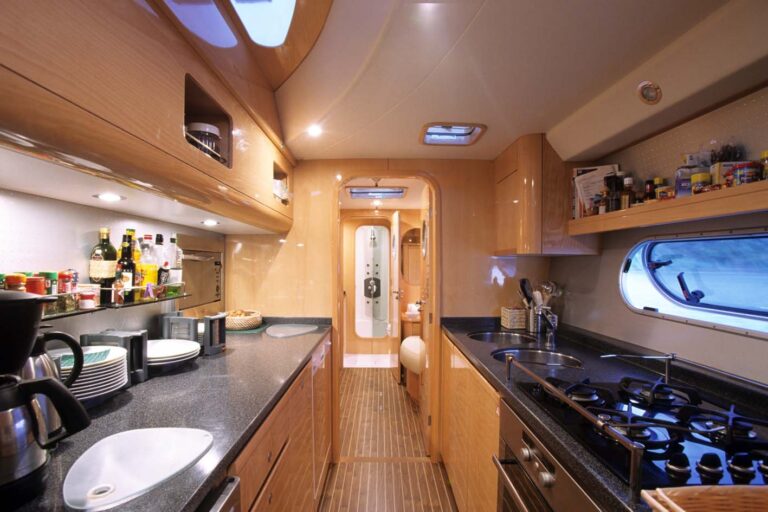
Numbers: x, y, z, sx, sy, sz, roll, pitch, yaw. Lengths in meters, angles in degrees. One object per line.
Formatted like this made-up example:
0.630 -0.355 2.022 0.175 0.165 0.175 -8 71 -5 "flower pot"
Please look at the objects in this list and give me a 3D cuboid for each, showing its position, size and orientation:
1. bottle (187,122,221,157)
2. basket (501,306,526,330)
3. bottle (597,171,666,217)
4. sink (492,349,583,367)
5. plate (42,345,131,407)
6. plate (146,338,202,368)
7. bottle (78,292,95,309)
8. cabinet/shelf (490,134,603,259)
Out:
-0.868 -0.574 2.445 0.165 0.171 0.178 0 6 6 "bottle"
0.925 0.430 3.534 0.119 0.154 0.223 0 1 -2 "basket"
1.342 -0.331 2.669 0.282 0.065 0.121 -17 -15 42 "bottle"
0.875 0.589 2.920 0.485 0.103 0.294 -2 -15 11 "sink"
-1.270 0.481 2.169 0.265 0.123 0.270 0 -2 3 "plate"
-1.106 0.502 2.598 0.246 0.157 0.303 8 -16 -24 "plate"
-1.325 0.204 2.218 0.056 0.063 0.072 0 1 1 "bottle"
1.021 -0.337 3.606 0.593 1.133 1.154 0 0 -4 "cabinet/shelf"
